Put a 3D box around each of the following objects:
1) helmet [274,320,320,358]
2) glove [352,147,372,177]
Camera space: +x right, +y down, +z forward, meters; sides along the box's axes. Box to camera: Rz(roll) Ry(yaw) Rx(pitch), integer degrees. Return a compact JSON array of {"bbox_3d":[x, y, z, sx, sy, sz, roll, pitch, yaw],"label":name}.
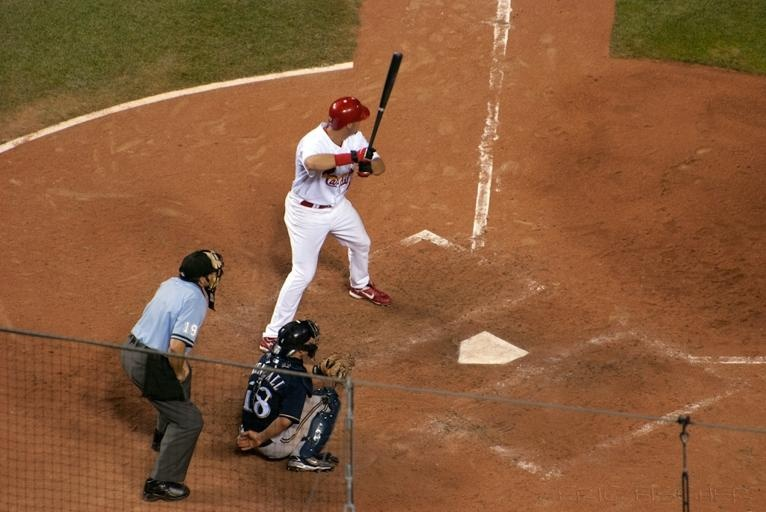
[{"bbox_3d":[-1.177,1.228,20.138,0.702,0.472,0.425,-10,51,-19],"label":"helmet"},{"bbox_3d":[-0.231,-1.448,21.222,0.366,0.386,0.382,-1,90,1],"label":"glove"}]
